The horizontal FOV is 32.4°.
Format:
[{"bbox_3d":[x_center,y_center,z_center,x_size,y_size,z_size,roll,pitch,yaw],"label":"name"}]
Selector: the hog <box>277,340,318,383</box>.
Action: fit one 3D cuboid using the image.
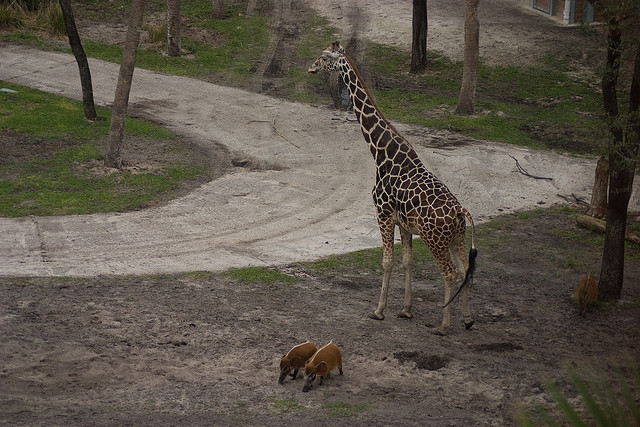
[{"bbox_3d":[-0.703,4.355,33.166,0.704,0.896,1.826,11,21,34],"label":"hog"}]
